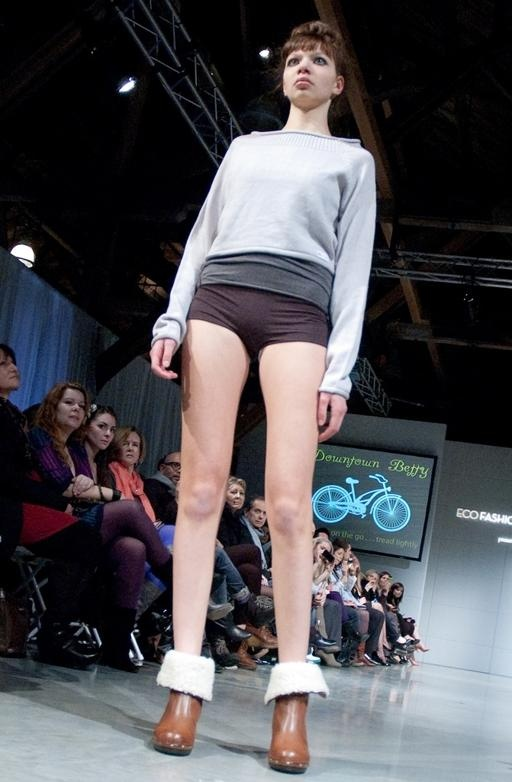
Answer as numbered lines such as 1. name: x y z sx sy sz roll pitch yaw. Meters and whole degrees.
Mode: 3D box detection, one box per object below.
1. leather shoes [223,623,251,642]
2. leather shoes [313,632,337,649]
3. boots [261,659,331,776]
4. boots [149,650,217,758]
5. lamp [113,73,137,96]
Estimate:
1. leather shoes: -0.087 1.201 3.077 0.141 0.075 0.055 20 -31 -28
2. leather shoes: 0.495 1.994 4.963 0.265 0.102 0.104 -4 -11 31
3. boots: 0.056 0.506 0.980 0.087 0.108 0.161 1 -15 2
4. boots: -0.122 0.501 1.008 0.092 0.133 0.197 6 -6 0
5. lamp: -1.128 -2.658 5.368 0.120 0.042 0.145 7 -27 -24
